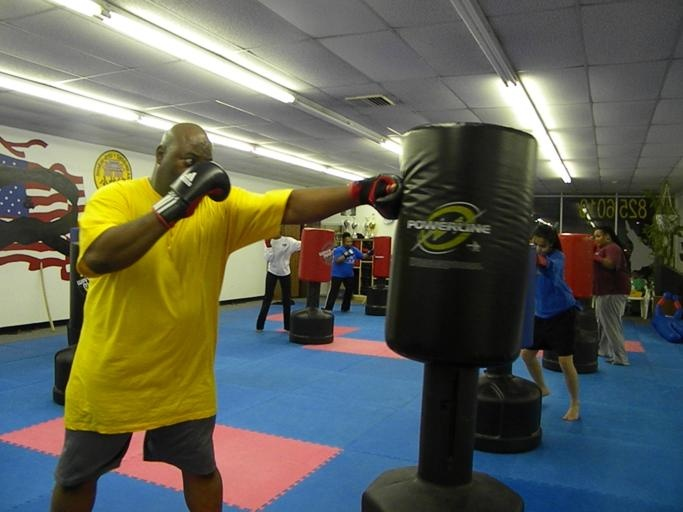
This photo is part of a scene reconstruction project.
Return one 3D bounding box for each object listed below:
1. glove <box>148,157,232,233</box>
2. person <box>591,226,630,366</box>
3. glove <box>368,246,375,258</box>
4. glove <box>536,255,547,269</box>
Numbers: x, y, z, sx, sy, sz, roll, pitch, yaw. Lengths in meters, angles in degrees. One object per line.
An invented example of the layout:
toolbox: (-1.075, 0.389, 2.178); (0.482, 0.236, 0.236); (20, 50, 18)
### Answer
glove: (-0.622, -0.255, 2.197); (0.230, 0.363, 0.150); (38, -17, 9)
person: (3.913, 0.559, 7.119); (0.590, 2.064, 0.973); (5, 2, 28)
glove: (0.852, -0.102, 13.371); (0.118, 0.209, 0.170); (20, -3, 14)
glove: (1.948, 0.054, 4.757); (0.092, 0.116, 0.069); (4, 1, 28)
